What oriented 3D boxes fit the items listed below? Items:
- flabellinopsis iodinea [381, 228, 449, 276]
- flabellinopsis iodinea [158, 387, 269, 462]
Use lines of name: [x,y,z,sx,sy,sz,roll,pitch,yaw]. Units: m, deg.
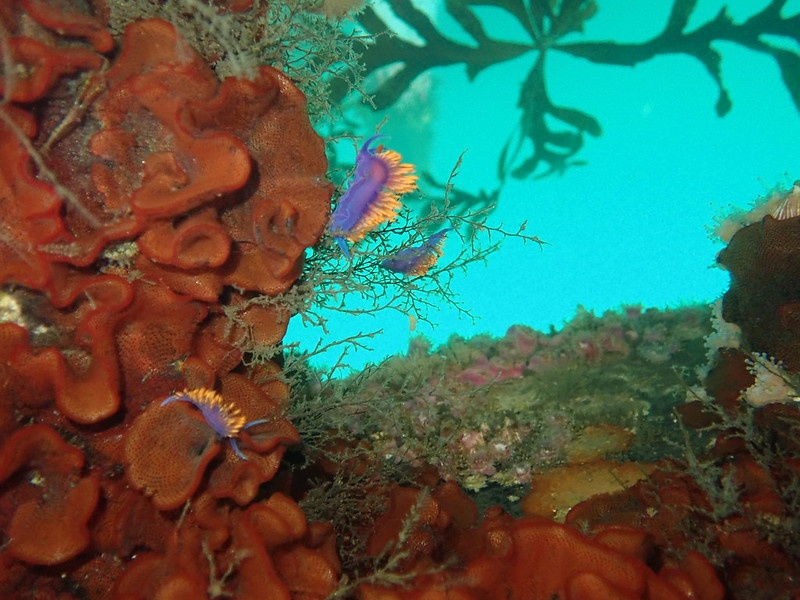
flabellinopsis iodinea: [0.092,-0.276,4.946,0.172,0.245,0.606,21,6,12]
flabellinopsis iodinea: [-0.804,0.670,4.228,0.488,0.245,0.139,-12,-58,24]
